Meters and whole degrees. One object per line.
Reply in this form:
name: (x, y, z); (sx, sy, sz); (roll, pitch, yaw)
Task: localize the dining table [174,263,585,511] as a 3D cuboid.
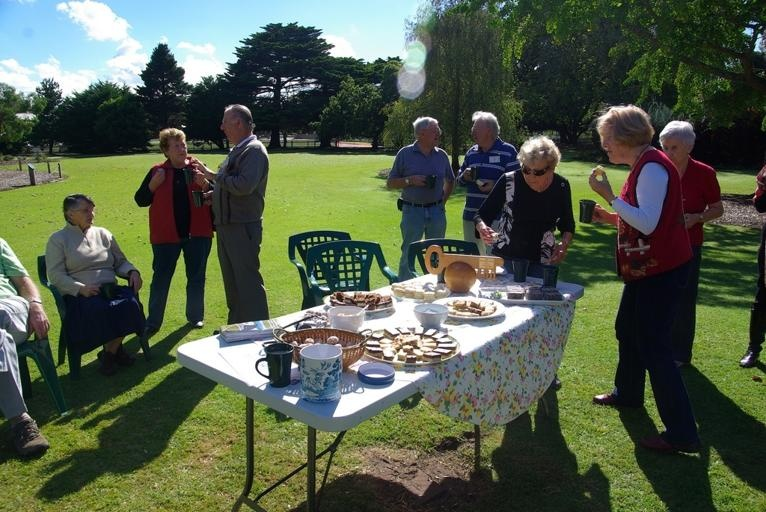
dining table: (0.311, 1.034, 4.985); (3.527, 0.921, 1.134); (-9, 13, -29)

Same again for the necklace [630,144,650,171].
necklace: (2.396, -0.930, 5.356); (0.122, 0.259, 0.143); (17, 15, 28)

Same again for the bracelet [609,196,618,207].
bracelet: (2.082, -0.484, 5.142); (0.047, 0.080, 0.079); (37, -9, 12)

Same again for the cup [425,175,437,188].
cup: (0.689, -1.024, 7.895); (0.134, 0.180, 0.221); (5, 13, 33)

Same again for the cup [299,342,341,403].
cup: (-0.432, 0.872, 4.265); (0.358, 0.374, 0.337); (-1, 3, 0)

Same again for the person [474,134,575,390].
person: (1.614, -0.045, 6.352); (1.117, 2.399, 1.133); (0, 4, 5)

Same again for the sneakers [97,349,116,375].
sneakers: (-3.255, 1.239, 6.568); (0.332, 0.255, 0.147); (9, 6, 43)

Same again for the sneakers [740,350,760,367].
sneakers: (4.367, 1.226, 6.788); (0.324, 0.156, 0.150); (-13, 15, -43)

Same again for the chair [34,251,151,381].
chair: (-3.170, 0.456, 6.768); (1.050, 1.468, 1.089); (7, 3, -19)

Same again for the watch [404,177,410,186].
watch: (0.340, -1.037, 8.001); (0.052, 0.077, 0.084); (7, 4, 23)

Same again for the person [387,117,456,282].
person: (0.650, -0.655, 8.354); (0.988, 2.671, 0.876); (-5, 19, -12)

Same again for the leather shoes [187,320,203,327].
leather shoes: (-2.516, 0.918, 7.635); (0.195, 0.076, 0.075); (-2, 8, 29)

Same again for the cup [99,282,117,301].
cup: (-3.107, 0.408, 6.474); (0.130, 0.197, 0.189); (6, 28, -12)

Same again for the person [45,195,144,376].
person: (-3.276, 0.189, 6.477); (0.926, 1.737, 0.612); (-10, 13, -32)

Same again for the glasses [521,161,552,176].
glasses: (1.626, -0.890, 6.017); (0.286, 0.129, 0.174); (0, 11, 14)

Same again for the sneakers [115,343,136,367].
sneakers: (-3.106, 1.193, 6.804); (0.351, 0.159, 0.130); (7, 9, 44)

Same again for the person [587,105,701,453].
person: (2.535, 0.248, 5.448); (1.028, 3.324, 0.815); (7, 15, 42)

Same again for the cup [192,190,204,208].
cup: (-2.233, -0.679, 6.860); (0.124, 0.182, 0.154); (-7, 12, -19)

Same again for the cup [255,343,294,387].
cup: (-0.821, 0.826, 4.260); (0.303, 0.314, 0.208); (-6, 16, -35)

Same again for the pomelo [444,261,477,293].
pomelo: (0.771, 0.227, 5.716); (0.342, 0.321, 0.345); (-5, 7, -42)

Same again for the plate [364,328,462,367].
plate: (0.239, 0.738, 4.574); (0.719, 0.183, 0.429); (-1, 11, 12)
